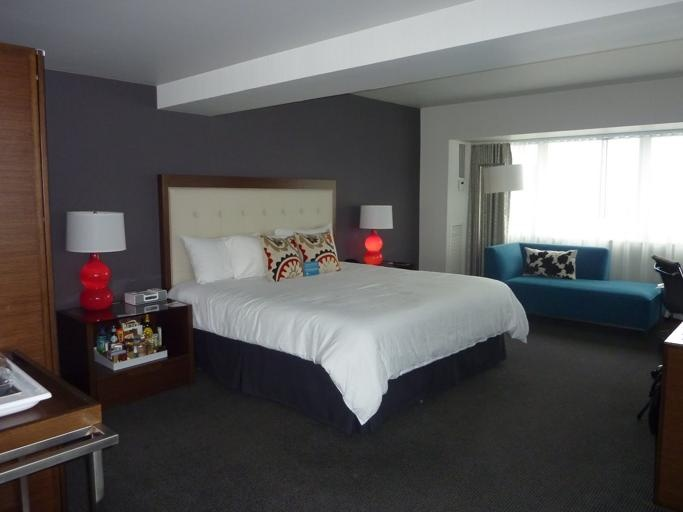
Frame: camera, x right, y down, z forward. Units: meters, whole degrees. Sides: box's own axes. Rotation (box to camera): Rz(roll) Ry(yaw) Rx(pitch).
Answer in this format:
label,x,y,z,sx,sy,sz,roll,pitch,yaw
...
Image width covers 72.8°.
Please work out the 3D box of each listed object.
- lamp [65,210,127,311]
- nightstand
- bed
label,x,y,z,sx,sy,sz,roll,pitch,yaw
lamp,-2.184,0.042,4.112,0.470,0.879,0.487,-1,7,-27
nightstand,-1.934,0.804,4.170,0.751,0.991,1.076,2,5,41
bed,-0.316,0.232,4.595,2.559,1.824,2.479,10,11,37
